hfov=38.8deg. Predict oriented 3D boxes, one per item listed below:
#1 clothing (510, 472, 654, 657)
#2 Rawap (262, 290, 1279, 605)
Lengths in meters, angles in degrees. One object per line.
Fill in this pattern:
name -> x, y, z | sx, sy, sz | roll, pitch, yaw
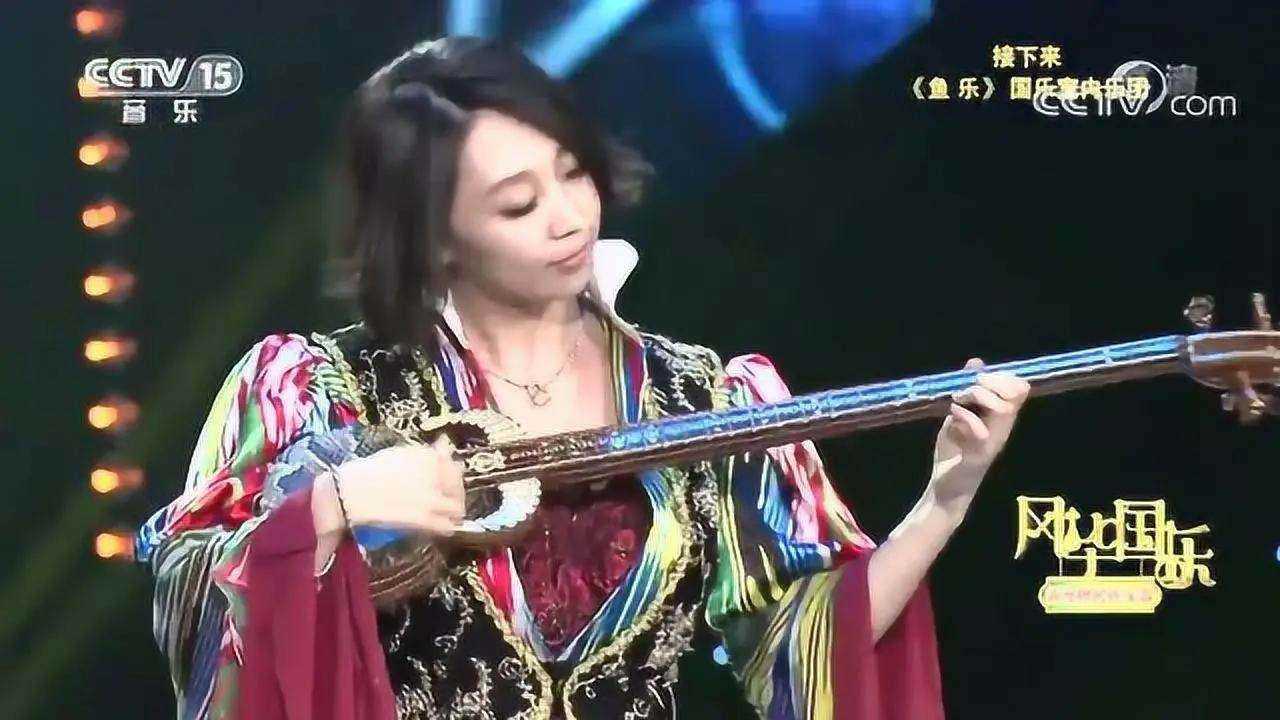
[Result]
clothing -> -0.057, 0.480, 4.223 | 0.127, 0.339, 0.514 | -9, -8, -37
Rawap -> 0.425, 0.123, 4.313 | 2.779, 0.304, 0.758 | -8, 35, -2
